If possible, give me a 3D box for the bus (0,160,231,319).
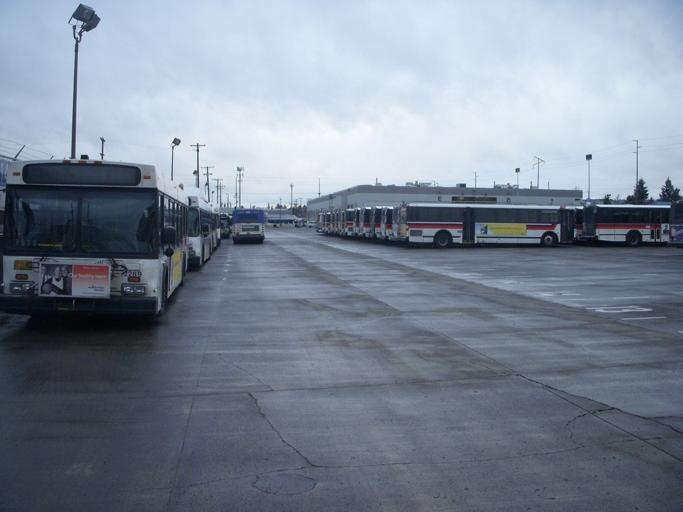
[{"bbox_3d":[-5.080,-0.396,12.569,2.901,2.937,0.874,0,5,-4],"label":"bus"}]

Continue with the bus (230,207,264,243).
[{"bbox_3d":[-8.048,-2.813,55.872,2.557,2.762,2.200,0,5,-3],"label":"bus"}]
